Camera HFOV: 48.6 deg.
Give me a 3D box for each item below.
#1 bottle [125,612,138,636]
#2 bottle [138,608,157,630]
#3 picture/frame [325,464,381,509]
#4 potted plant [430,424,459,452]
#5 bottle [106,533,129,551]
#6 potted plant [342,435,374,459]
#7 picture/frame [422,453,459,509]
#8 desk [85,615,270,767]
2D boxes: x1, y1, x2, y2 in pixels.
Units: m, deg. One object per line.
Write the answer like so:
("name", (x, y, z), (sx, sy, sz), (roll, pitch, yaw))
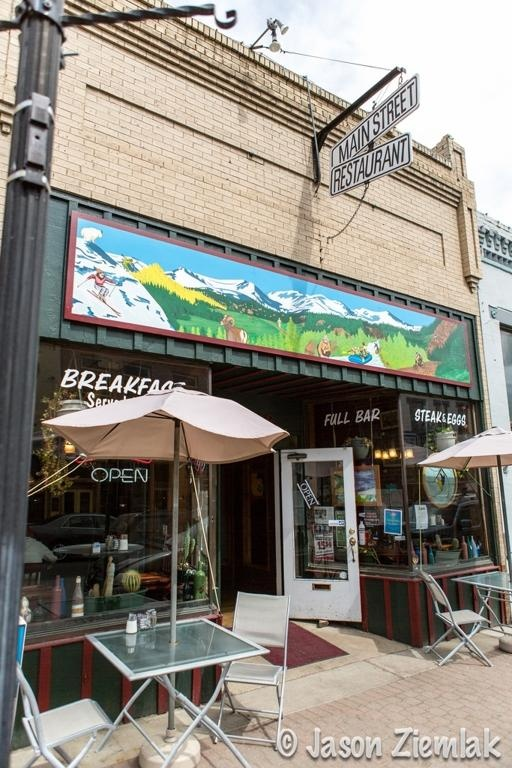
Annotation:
("bottle", (-0.902, 1.716, 4.076), (0.117, 0.138, 0.119), (6, -7, -26))
("bottle", (-0.829, 1.786, 4.296), (0.105, 0.169, 0.160), (4, -16, -14))
("picture/frame", (1.340, 1.412, 7.745), (0.565, 0.577, 0.039), (-5, -20, 20))
("potted plant", (2.728, 0.804, 8.315), (0.348, 0.348, 0.338), (10, -24, -16))
("bottle", (-1.191, 1.335, 4.817), (0.071, 0.132, 0.141), (-15, -21, 35))
("potted plant", (1.428, 0.901, 7.887), (0.315, 0.309, 0.299), (12, -19, -41))
("picture/frame", (2.488, 1.315, 7.706), (0.060, 0.858, 0.753), (-16, -36, 40))
("desk", (-0.566, 2.059, 3.748), (1.031, 0.914, 1.389), (4, -11, -19))
